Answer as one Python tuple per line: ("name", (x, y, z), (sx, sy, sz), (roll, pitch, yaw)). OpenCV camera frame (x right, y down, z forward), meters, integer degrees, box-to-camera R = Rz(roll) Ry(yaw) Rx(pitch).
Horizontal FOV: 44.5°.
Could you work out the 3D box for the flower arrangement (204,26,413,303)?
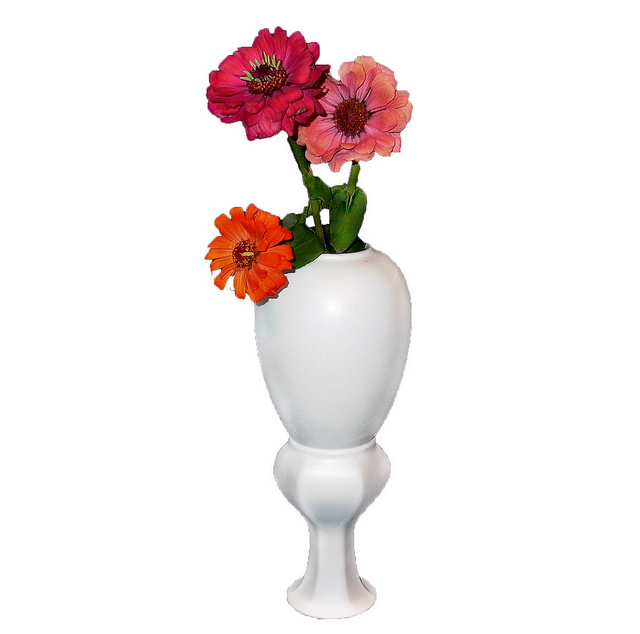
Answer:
("flower arrangement", (-0.046, -0.427, 2.220), (0.615, 0.432, 0.830), (-1, -58, -4))
